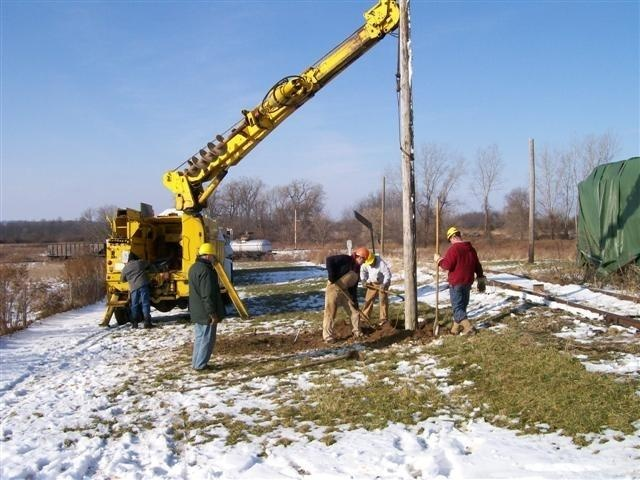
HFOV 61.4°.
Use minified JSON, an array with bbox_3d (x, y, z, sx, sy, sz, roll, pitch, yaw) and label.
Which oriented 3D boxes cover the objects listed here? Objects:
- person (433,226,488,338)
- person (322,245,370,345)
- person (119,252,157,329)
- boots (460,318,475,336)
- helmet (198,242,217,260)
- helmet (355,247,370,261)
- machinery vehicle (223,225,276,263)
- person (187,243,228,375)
[{"bbox_3d":[2.946,0.899,11.261,0.935,2.220,1.533,-2,11,15],"label":"person"},{"bbox_3d":[0.549,1.202,12.231,0.958,1.872,1.370,-3,10,7],"label":"person"},{"bbox_3d":[-4.905,1.462,14.601,0.753,1.810,1.067,-8,11,-20],"label":"person"},{"bbox_3d":[2.971,1.750,10.874,0.272,0.327,0.564,-2,11,13],"label":"boots"},{"bbox_3d":[-2.187,0.205,10.509,0.252,0.220,0.371,6,11,3],"label":"helmet"},{"bbox_3d":[0.999,0.330,12.757,0.224,0.265,0.310,8,-14,-2],"label":"helmet"},{"bbox_3d":[-5.945,0.469,46.030,3.851,2.064,1.394,0,16,21],"label":"machinery vehicle"},{"bbox_3d":[-2.190,1.295,10.310,0.723,2.379,0.600,-7,10,-15],"label":"person"}]
